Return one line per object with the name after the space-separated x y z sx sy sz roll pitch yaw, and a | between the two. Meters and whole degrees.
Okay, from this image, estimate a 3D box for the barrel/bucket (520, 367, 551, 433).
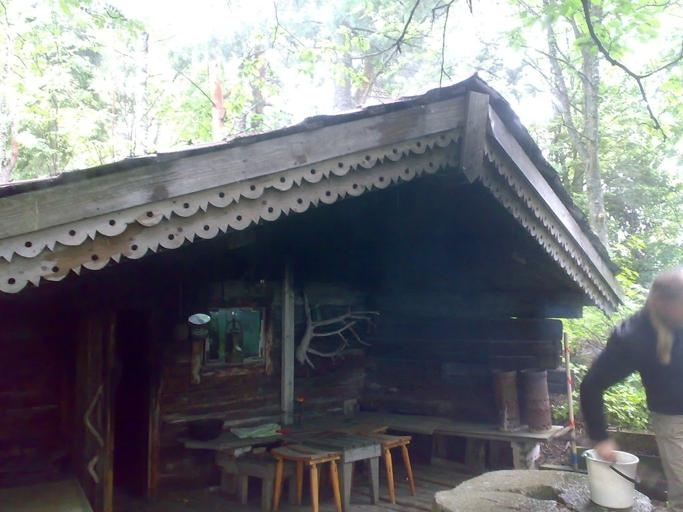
3.339 2.481 11.273 0.423 1.014 0.273 -3 -10 14 | barrel/bucket

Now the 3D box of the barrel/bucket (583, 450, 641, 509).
2.968 2.492 7.436 0.591 0.534 0.559 -2 -5 0 | barrel/bucket

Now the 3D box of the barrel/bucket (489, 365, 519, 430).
2.854 2.488 11.340 0.443 0.999 0.323 0 -10 -1 | barrel/bucket

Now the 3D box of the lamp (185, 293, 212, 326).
-2.318 0.873 10.626 0.346 0.483 0.499 3 -14 -10 | lamp
